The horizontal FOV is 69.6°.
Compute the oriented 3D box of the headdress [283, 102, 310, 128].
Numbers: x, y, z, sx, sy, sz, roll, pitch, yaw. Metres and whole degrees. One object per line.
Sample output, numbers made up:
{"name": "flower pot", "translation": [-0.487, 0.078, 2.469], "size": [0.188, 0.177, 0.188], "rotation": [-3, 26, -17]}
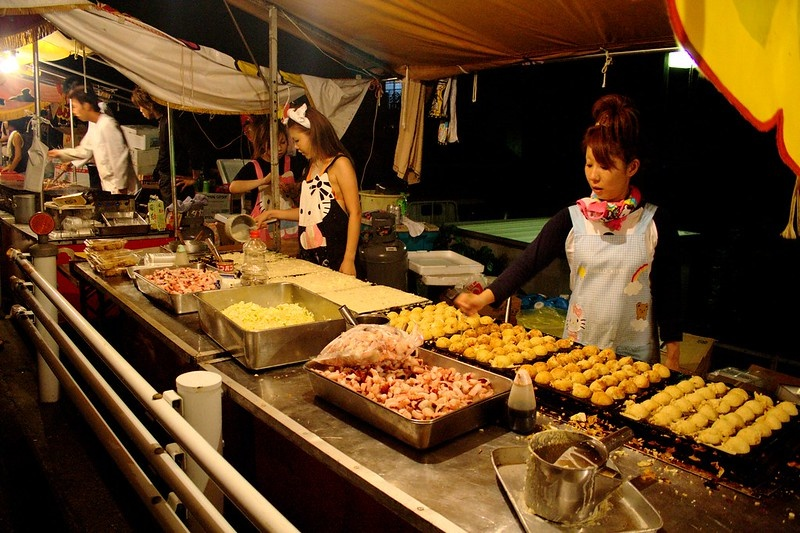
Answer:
{"name": "headdress", "translation": [-0.976, -1.372, 5.335], "size": [0.139, 0.217, 0.321], "rotation": [-14, 19, -43]}

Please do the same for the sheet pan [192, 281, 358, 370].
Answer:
{"name": "sheet pan", "translation": [-0.685, 0.394, 3.577], "size": [0.653, 0.175, 0.676], "rotation": [-6, 17, -34]}

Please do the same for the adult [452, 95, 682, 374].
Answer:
{"name": "adult", "translation": [1.201, 0.244, 4.192], "size": [1.550, 2.677, 0.732], "rotation": [-7, 34, 5]}

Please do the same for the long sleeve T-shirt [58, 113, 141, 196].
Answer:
{"name": "long sleeve T-shirt", "translation": [-4.328, -1.404, 8.425], "size": [0.877, 1.290, 0.664], "rotation": [-12, 10, 2]}
